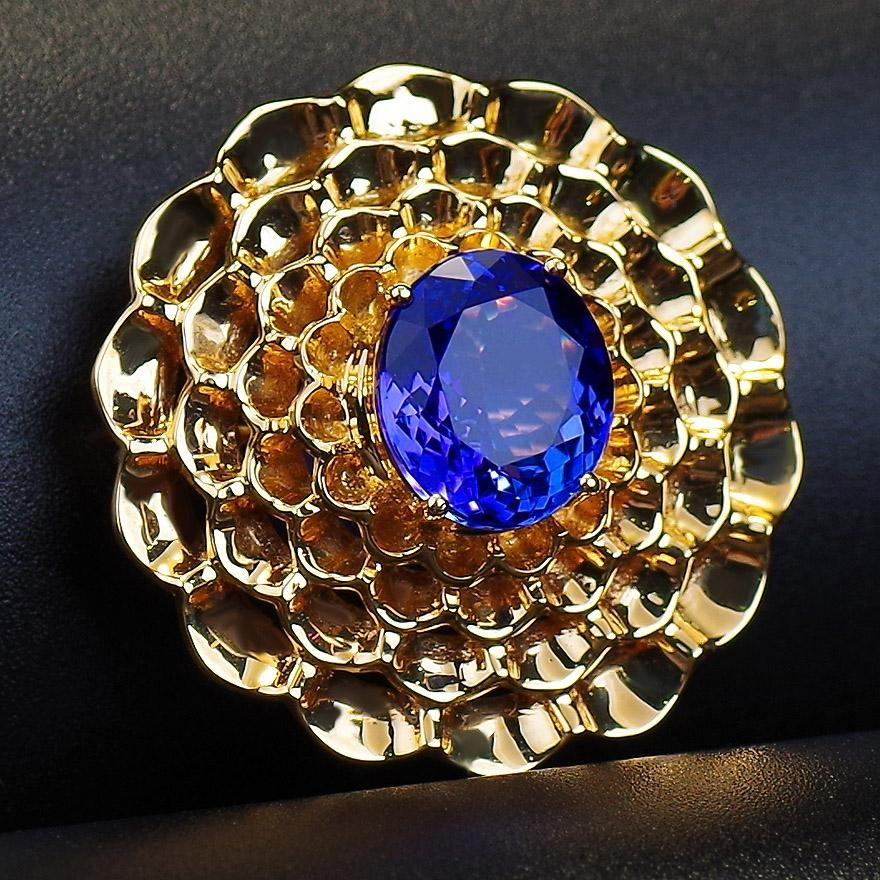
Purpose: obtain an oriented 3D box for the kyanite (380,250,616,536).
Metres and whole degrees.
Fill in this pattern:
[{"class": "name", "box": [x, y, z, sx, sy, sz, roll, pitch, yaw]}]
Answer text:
[{"class": "kyanite", "box": [0.046, -0.034, 0.887, 0.257, 0.104, 0.175, -7, 94, -15]}]
